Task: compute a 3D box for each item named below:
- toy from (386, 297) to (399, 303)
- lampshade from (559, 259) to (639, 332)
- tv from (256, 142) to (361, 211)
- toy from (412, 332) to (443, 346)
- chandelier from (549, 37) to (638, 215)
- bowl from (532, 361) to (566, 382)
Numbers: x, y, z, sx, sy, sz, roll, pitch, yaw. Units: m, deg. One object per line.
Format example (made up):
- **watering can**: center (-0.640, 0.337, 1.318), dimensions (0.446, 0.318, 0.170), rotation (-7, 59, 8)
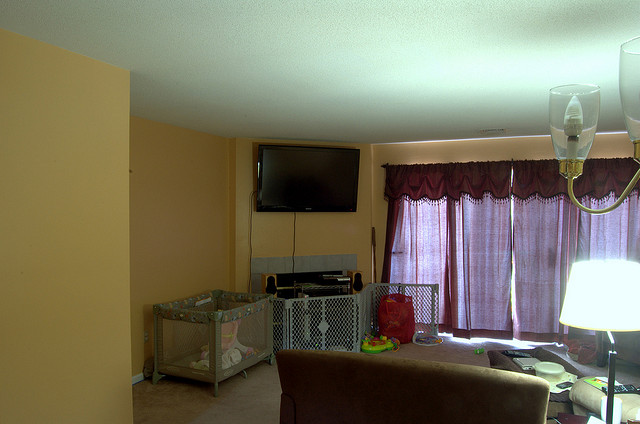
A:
- **toy**: center (0.916, 1.122, 6.314), dimensions (0.143, 0.043, 0.209), rotation (-1, -2, 4)
- **lampshade**: center (1.701, 0.505, 3.133), dimensions (0.476, 0.337, 0.460), rotation (4, -8, -22)
- **tv**: center (-0.198, -0.443, 6.176), dimensions (0.943, 0.575, 0.123), rotation (-1, 12, -16)
- **toy**: center (1.362, 1.611, 6.269), dimensions (0.367, 0.106, 0.353), rotation (-1, -2, 15)
- **chandelier**: center (1.497, -0.438, 2.738), dimensions (0.408, 0.897, 0.525), rotation (-1, -1, 24)
- **bowl**: center (1.788, 1.243, 3.871), dimensions (0.246, 0.083, 0.241), rotation (-1, 5, 0)
